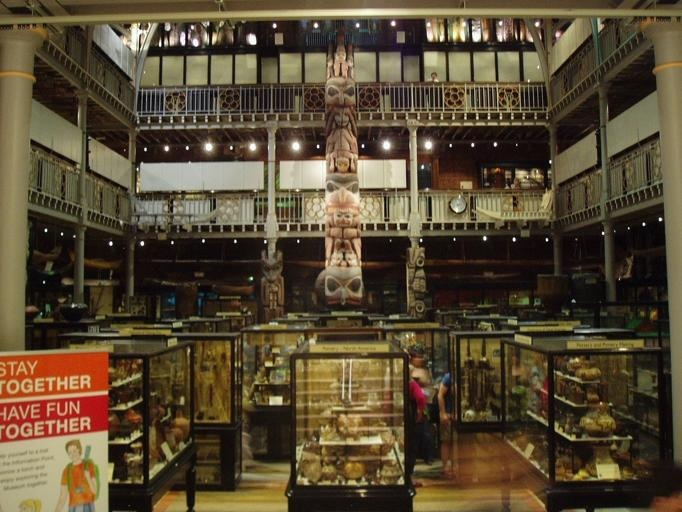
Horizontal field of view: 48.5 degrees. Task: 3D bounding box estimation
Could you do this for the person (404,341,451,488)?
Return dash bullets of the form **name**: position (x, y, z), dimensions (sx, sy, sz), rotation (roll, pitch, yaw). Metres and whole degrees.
- **person**: position (1.490, 2.602, 13.349), dimensions (0.529, 2.121, 1.373), rotation (-1, -7, 8)
